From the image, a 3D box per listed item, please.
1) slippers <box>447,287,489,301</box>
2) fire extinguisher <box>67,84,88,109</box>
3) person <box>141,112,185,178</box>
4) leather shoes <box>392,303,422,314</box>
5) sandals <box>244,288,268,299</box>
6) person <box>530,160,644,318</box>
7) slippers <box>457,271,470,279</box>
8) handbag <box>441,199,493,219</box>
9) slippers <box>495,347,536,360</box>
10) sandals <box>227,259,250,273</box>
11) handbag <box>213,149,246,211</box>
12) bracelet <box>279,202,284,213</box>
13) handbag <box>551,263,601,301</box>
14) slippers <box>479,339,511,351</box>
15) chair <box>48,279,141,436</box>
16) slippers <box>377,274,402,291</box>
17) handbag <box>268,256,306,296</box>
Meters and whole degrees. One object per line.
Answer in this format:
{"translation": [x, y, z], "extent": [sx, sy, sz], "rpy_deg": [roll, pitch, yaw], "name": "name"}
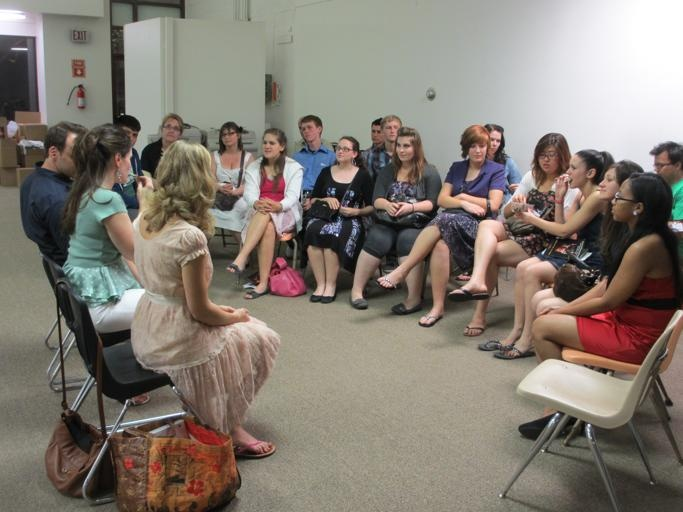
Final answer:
{"translation": [0.930, 0.266, 3.850], "extent": [0.303, 0.124, 0.087], "rpy_deg": [6, 54, -21], "name": "slippers"}
{"translation": [-5.262, -3.216, 10.640], "extent": [0.372, 0.495, 0.205], "rpy_deg": [5, 16, 4], "name": "fire extinguisher"}
{"translation": [-1.917, -1.120, 5.870], "extent": [0.480, 0.913, 0.442], "rpy_deg": [7, -1, -21], "name": "person"}
{"translation": [0.560, 0.450, 4.530], "extent": [0.211, 0.069, 0.099], "rpy_deg": [4, -1, -26], "name": "leather shoes"}
{"translation": [-0.762, 0.338, 4.852], "extent": [0.086, 0.048, 0.186], "rpy_deg": [0, 0, 40], "name": "sandals"}
{"translation": [1.523, -0.097, 3.276], "extent": [0.314, 0.888, 0.634], "rpy_deg": [28, 11, 4], "name": "person"}
{"translation": [1.034, 0.165, 4.447], "extent": [0.080, 0.060, 0.220], "rpy_deg": [-2, -2, 11], "name": "slippers"}
{"translation": [1.068, -0.422, 4.529], "extent": [0.235, 0.088, 0.190], "rpy_deg": [14, -2, 37], "name": "handbag"}
{"translation": [1.230, 0.659, 3.722], "extent": [0.249, 0.066, 0.105], "rpy_deg": [1, 4, -10], "name": "slippers"}
{"translation": [-0.937, 0.097, 4.924], "extent": [0.113, 0.072, 0.249], "rpy_deg": [5, 6, 10], "name": "sandals"}
{"translation": [-1.180, -0.801, 5.660], "extent": [0.290, 0.558, 0.186], "rpy_deg": [4, -4, 5], "name": "handbag"}
{"translation": [-0.559, -0.468, 5.016], "extent": [0.056, 0.068, 0.069], "rpy_deg": [0, -3, -4], "name": "bracelet"}
{"translation": [1.399, 0.145, 3.185], "extent": [0.195, 0.242, 0.108], "rpy_deg": [55, 4, 40], "name": "handbag"}
{"translation": [1.115, 0.644, 3.822], "extent": [0.204, 0.060, 0.087], "rpy_deg": [1, 8, 15], "name": "slippers"}
{"translation": [-1.217, 0.519, 2.670], "extent": [0.473, 0.672, 0.504], "rpy_deg": [-13, 26, -31], "name": "chair"}
{"translation": [0.413, 0.236, 4.388], "extent": [0.244, 0.061, 0.133], "rpy_deg": [-7, 55, -38], "name": "slippers"}
{"translation": [-0.500, 0.168, 4.957], "extent": [0.330, 0.275, 0.262], "rpy_deg": [13, 20, 26], "name": "handbag"}
